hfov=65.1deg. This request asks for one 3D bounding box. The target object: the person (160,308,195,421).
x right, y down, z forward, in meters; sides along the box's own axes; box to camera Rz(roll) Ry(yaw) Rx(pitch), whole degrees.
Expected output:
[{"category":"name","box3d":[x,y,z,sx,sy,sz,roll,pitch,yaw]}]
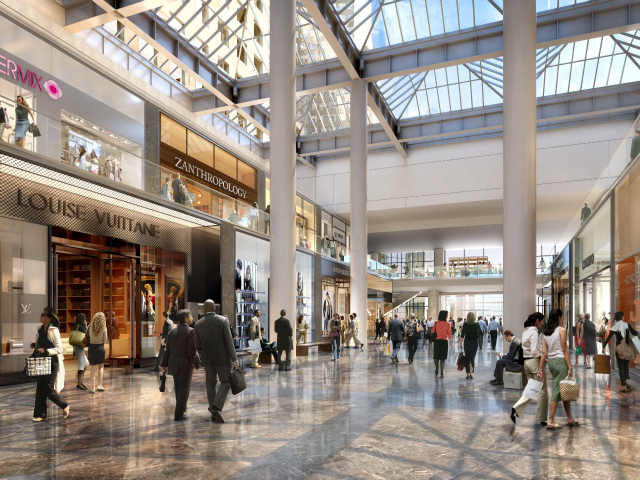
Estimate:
[{"category":"person","box3d":[-2.781,2.469,9.856,0.653,2.120,0.575,3,-5,-30]}]

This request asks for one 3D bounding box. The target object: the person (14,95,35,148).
[{"category":"person","box3d":[-7.628,-2.911,12.876,0.314,1.214,0.547,-2,-5,29]}]

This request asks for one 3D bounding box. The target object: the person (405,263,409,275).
[{"category":"person","box3d":[7.570,2.597,43.391,0.438,0.827,0.267,-2,-5,27]}]

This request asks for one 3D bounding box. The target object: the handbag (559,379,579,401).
[{"category":"handbag","box3d":[4.621,2.810,9.284,0.355,0.410,0.236,-1,-5,12]}]

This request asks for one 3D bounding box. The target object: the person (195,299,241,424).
[{"category":"person","box3d":[-2.018,2.363,9.827,0.907,2.321,0.407,-1,-4,17]}]

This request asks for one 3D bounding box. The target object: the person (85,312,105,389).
[{"category":"person","box3d":[-5.822,2.894,13.026,0.452,1.974,1.354,2,-5,-25]}]

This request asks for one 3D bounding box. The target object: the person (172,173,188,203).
[{"category":"person","box3d":[-5.105,-1.836,18.224,0.198,1.071,0.941,-1,-5,16]}]

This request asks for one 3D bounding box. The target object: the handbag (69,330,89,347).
[{"category":"handbag","box3d":[-5.979,2.479,12.469,0.335,0.428,0.564,-2,-13,16]}]

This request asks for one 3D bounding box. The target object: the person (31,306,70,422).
[{"category":"person","box3d":[-5.331,2.454,9.912,0.665,2.177,0.615,3,-5,-34]}]

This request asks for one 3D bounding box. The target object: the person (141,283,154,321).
[{"category":"person","box3d":[-6.194,2.236,18.032,0.307,1.344,0.865,0,-5,12]}]

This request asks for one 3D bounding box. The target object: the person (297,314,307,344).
[{"category":"person","box3d":[-0.904,4.363,24.389,0.387,1.433,1.367,1,-5,-3]}]

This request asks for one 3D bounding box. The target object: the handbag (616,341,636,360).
[{"category":"handbag","box3d":[8.127,2.959,13.240,0.374,0.804,0.756,-7,-14,38]}]
